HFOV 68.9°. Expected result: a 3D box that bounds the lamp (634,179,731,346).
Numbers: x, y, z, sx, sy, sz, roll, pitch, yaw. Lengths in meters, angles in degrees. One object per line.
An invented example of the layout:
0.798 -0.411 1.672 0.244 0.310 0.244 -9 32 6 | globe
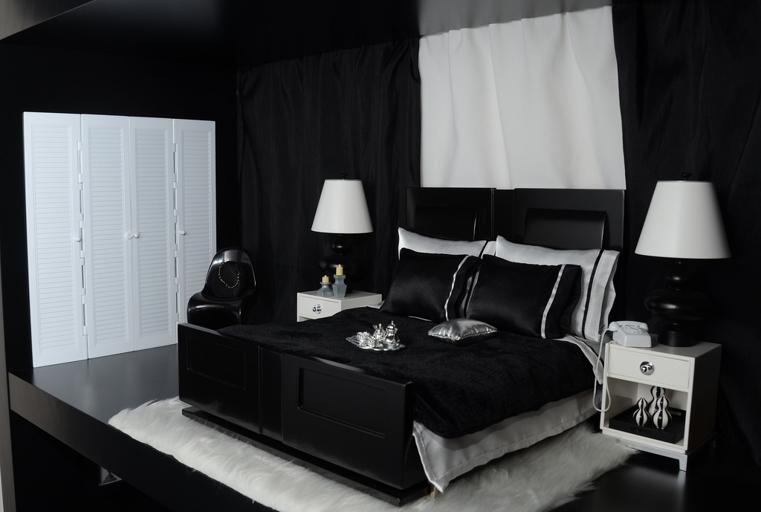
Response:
2.025 0.038 3.770 0.568 1.101 0.432 2 9 8 | lamp

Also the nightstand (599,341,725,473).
1.871 0.914 3.952 0.805 0.998 0.772 0 2 -44 | nightstand

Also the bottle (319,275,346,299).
-0.468 0.293 5.357 0.234 0.197 0.235 0 -1 -2 | bottle

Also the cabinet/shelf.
-2.616 -0.209 5.633 1.759 2.399 0.484 -5 11 -32 | cabinet/shelf

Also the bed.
0.390 0.583 3.896 2.251 1.532 2.391 -6 9 -43 | bed
